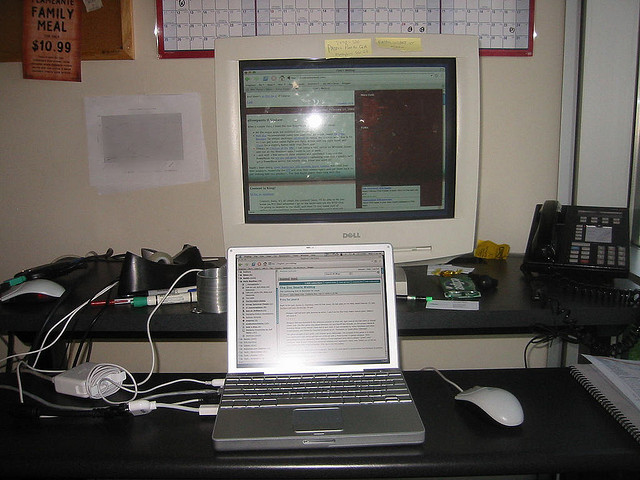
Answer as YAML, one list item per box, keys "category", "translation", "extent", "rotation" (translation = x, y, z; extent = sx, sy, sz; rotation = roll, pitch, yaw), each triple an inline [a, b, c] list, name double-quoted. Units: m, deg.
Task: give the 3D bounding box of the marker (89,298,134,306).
- category: "marker"
  translation: [-0.556, 0.165, 1.468]
  extent: [0.065, 0.011, 0.011]
  rotation: [-8, -6, -13]

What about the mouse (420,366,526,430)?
- category: "mouse"
  translation: [0.392, 0.366, 1.285]
  extent: [0.067, 0.039, 0.158]
  rotation: [7, 11, -37]

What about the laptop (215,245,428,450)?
- category: "laptop"
  translation: [-0.013, 0.208, 1.226]
  extent: [0.427, 0.321, 0.385]
  rotation: [-1, 11, -1]

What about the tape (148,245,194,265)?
- category: "tape"
  translation: [-0.449, 0.044, 1.616]
  extent: [0.088, 0.066, 0.049]
  rotation: [0, 6, 1]

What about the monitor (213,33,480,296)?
- category: "monitor"
  translation: [0.058, -0.221, 1.467]
  extent: [0.645, 0.683, 0.360]
  rotation: [-1, 5, -1]
